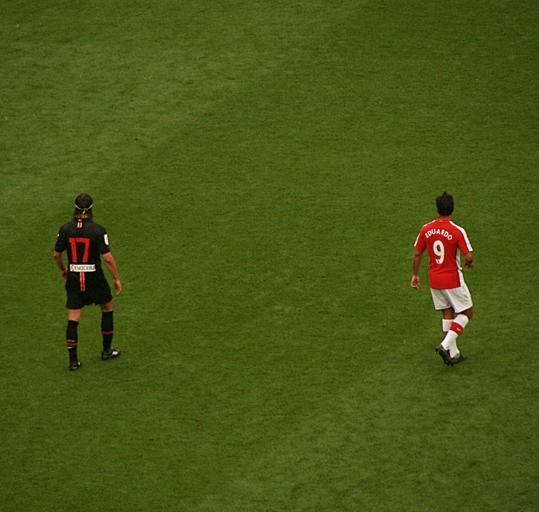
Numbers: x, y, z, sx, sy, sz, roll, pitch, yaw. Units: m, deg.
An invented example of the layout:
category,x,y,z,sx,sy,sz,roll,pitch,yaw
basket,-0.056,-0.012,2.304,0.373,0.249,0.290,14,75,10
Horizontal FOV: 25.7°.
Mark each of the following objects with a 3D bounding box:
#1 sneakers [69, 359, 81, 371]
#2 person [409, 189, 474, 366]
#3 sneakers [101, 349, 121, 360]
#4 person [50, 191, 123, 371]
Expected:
category,x,y,z,sx,sy,sz,roll,pitch,yaw
sneakers,-2.108,1.186,12.742,0.060,0.077,0.175,3,14,1
person,1.859,0.221,12.630,0.635,1.834,1.003,-2,12,9
sneakers,-1.731,1.088,12.912,0.092,0.103,0.215,17,27,31
person,-1.985,0.253,12.872,0.650,1.902,0.973,-7,12,-10
